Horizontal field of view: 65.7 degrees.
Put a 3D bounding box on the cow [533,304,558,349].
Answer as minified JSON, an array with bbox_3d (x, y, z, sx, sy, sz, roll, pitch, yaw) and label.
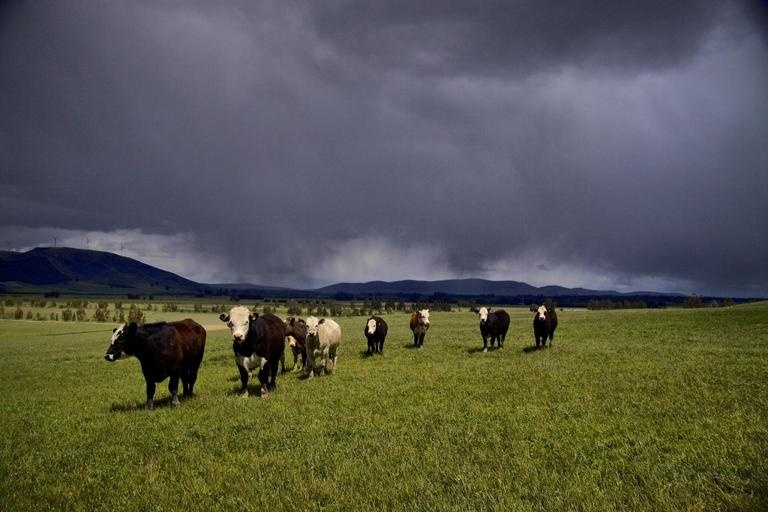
[{"bbox_3d":[11.043,4.763,40.925,1.344,2.680,4.797,-1,-6,20],"label":"cow"}]

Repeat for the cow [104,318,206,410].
[{"bbox_3d":[-11.394,5.584,30.773,2.230,4.541,7.564,-4,-6,16],"label":"cow"}]
